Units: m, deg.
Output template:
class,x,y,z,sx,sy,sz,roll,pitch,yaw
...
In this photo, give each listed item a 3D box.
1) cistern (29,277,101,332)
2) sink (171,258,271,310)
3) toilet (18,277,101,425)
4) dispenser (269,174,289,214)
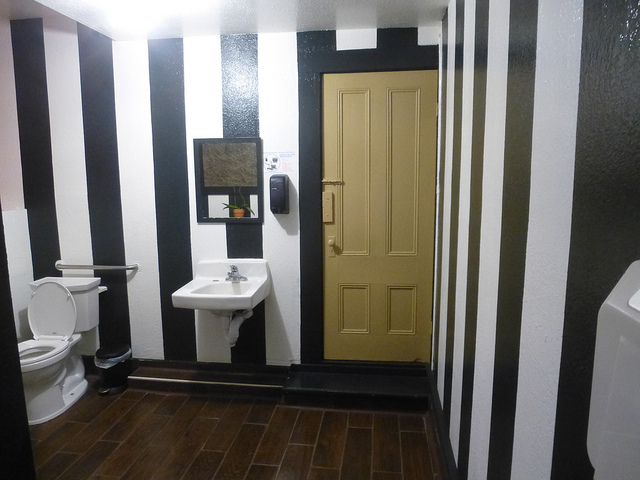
class,x,y,z,sx,sy,sz,roll,pitch,yaw
cistern,-1.847,0.384,3.854,0.524,0.533,0.388,0,-1,-13
sink,-0.679,0.315,3.601,0.631,0.263,0.508,-1,8,8
toilet,-1.935,0.767,3.618,0.484,0.859,0.756,1,10,12
dispenser,-0.289,-0.312,3.609,0.132,0.282,0.067,-6,11,-13
